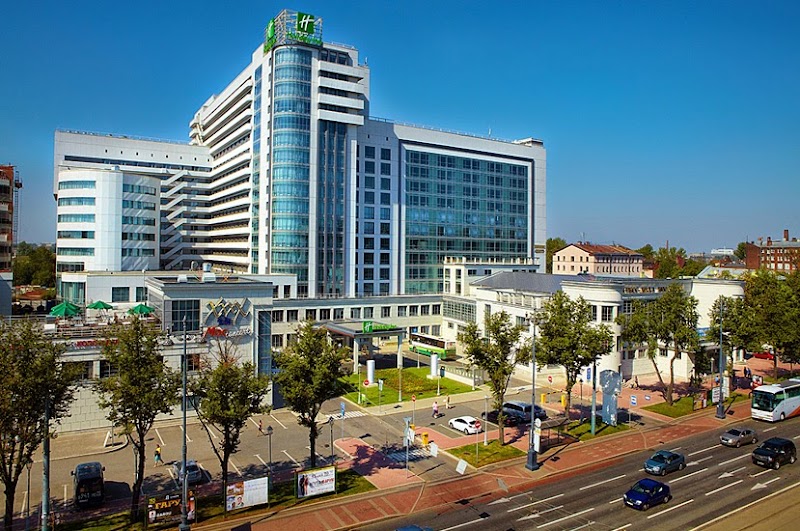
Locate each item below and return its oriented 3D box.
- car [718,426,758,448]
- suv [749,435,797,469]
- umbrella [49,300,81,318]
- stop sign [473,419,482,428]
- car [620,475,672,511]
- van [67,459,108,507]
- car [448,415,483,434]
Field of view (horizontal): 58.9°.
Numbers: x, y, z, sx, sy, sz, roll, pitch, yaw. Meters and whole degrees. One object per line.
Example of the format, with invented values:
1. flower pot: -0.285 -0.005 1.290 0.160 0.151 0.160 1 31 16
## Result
1. car: 45.988 23.324 96.200 4.744 2.307 1.616 0 -5 -14
2. suv: 48.276 24.290 91.559 5.478 3.385 2.084 1 -5 -25
3. umbrella: -51.835 7.140 110.424 4.151 1.751 4.132 5 2 29
4. stop sign: 10.830 22.078 99.120 1.123 0.715 1.780 1 -10 4
5. car: 29.229 27.165 84.194 5.399 3.068 1.856 0 -5 -19
6. van: -37.219 26.007 84.973 3.223 2.662 5.363 0 16 -25
7. car: 9.227 22.415 99.278 3.974 2.149 1.842 -3 -5 26
